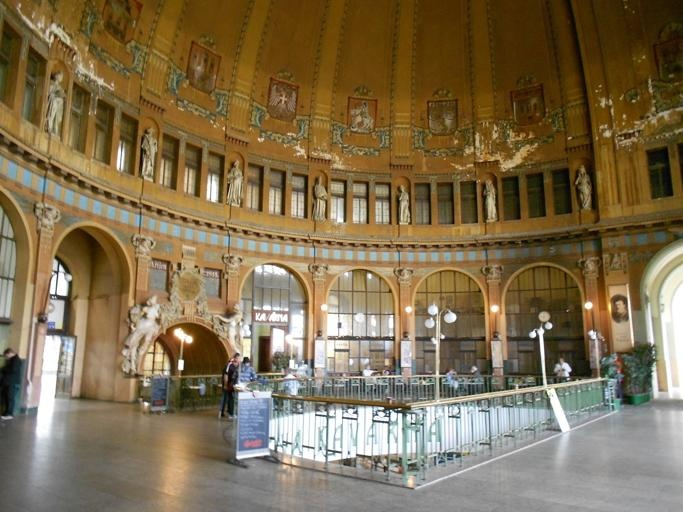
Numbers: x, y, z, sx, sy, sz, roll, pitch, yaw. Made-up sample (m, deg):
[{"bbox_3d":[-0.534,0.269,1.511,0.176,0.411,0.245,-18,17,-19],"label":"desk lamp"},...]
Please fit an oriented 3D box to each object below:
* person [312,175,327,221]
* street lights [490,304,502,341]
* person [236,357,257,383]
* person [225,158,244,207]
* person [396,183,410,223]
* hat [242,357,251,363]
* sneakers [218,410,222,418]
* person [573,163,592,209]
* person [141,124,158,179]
[{"bbox_3d":[-1.100,-3.036,26.553,0.787,2.475,0.556,2,-15,-9],"label":"person"},{"bbox_3d":[7.906,3.390,25.596,0.483,1.820,0.193,-5,-15,19],"label":"street lights"},{"bbox_3d":[-2.751,3.328,14.540,0.453,0.675,0.828,4,-16,-13],"label":"person"},{"bbox_3d":[-5.188,-3.492,24.395,0.887,2.373,0.522,6,-16,-20],"label":"person"},{"bbox_3d":[3.420,-2.767,27.414,0.640,2.209,0.495,-1,-15,3],"label":"person"},{"bbox_3d":[-2.726,2.973,14.399,0.154,0.226,0.224,-6,-22,6],"label":"hat"},{"bbox_3d":[-3.711,4.898,15.293,0.103,0.159,0.549,4,-17,-14],"label":"sneakers"},{"bbox_3d":[12.014,-3.335,24.769,0.746,2.224,0.408,-8,-17,27],"label":"person"},{"bbox_3d":[-8.186,-4.384,21.361,0.372,2.466,0.854,-6,-16,22],"label":"person"}]
